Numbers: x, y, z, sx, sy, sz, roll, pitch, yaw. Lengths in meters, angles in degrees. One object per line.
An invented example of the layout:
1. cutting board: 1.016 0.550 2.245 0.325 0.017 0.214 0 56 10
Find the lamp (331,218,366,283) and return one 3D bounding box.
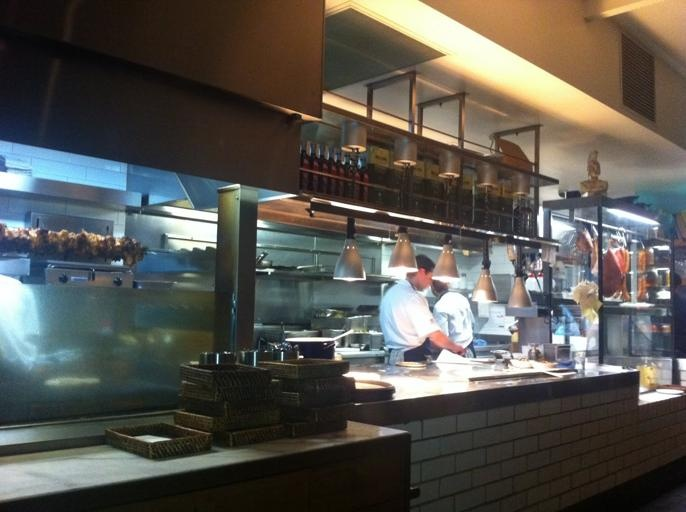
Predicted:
1. lamp: 0.064 -0.043 4.128 0.206 0.384 0.543 5 2 0

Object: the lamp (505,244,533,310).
1. lamp: 1.665 0.214 5.510 0.214 0.575 0.857 5 2 18

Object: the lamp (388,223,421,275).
1. lamp: 0.426 -0.050 4.219 0.180 0.371 0.173 -1 -25 15

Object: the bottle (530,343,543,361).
1. bottle: 1.506 0.763 4.676 0.106 0.120 0.104 2 -3 -25

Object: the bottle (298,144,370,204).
1. bottle: -0.071 -0.506 3.677 0.385 0.330 0.054 13 -27 -38
